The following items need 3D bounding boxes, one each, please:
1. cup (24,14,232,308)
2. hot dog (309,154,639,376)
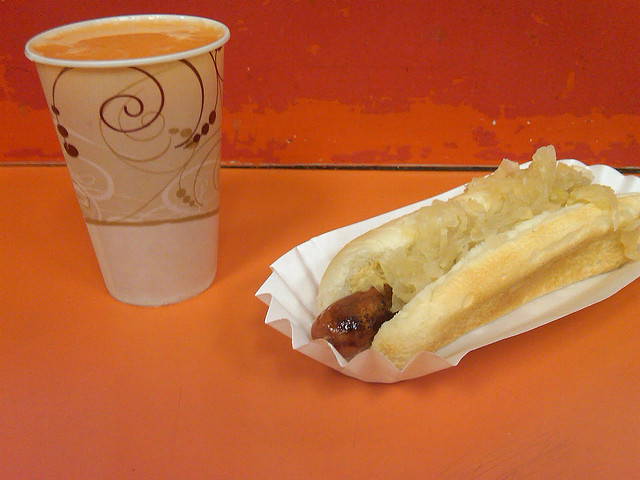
[{"bbox_3d":[-0.350,-0.135,1.173,0.329,0.525,0.228,-10,33,-25],"label":"cup"},{"bbox_3d":[0.299,0.009,1.163,0.642,0.237,0.304,-30,22,-6],"label":"hot dog"}]
